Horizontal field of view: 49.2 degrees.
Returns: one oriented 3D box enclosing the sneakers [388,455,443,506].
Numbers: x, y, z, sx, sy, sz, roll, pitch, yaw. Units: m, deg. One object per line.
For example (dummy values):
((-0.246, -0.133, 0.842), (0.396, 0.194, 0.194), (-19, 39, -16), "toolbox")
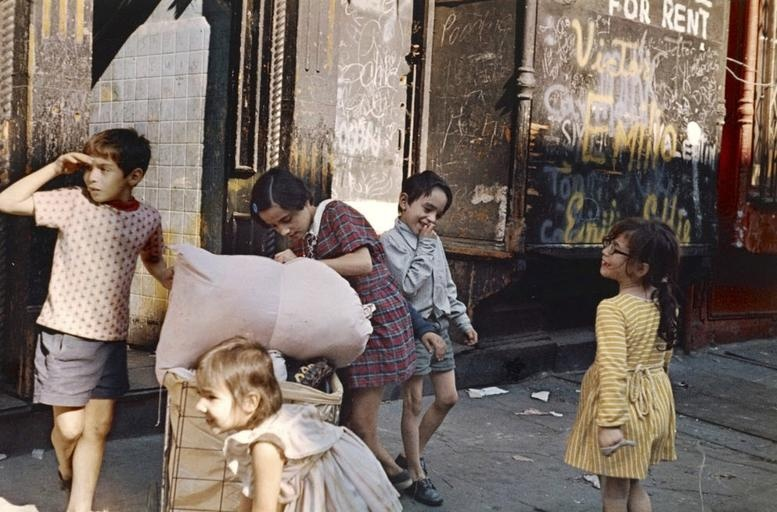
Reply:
((0.263, 1.793, 6.706), (0.185, 0.289, 0.546), (-6, 13, -42), "sneakers")
